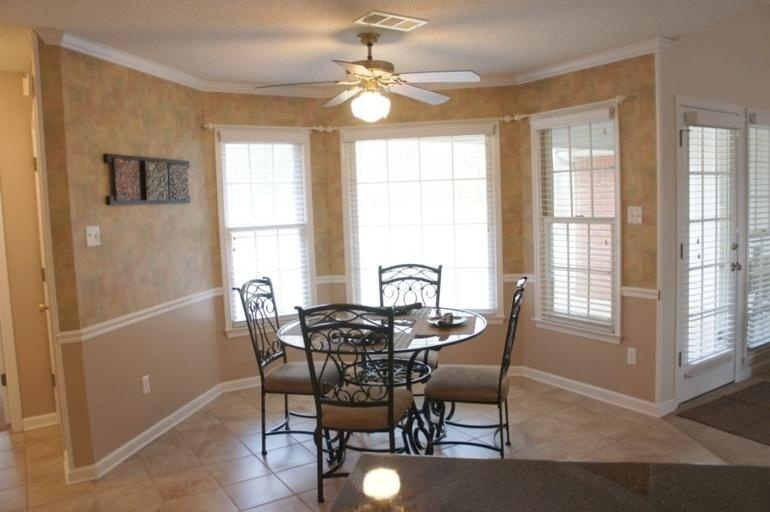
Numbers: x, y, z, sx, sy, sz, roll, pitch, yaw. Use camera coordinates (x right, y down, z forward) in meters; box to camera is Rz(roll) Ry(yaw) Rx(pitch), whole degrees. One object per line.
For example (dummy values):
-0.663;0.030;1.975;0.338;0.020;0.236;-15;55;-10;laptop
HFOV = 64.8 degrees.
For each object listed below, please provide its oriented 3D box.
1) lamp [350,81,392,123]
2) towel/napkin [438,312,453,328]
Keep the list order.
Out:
-0.113;-1.192;4.714;0.251;0.259;0.208;0;8;22;lamp
0.488;0.523;4.930;0.085;0.090;0.235;-2;-8;4;towel/napkin
